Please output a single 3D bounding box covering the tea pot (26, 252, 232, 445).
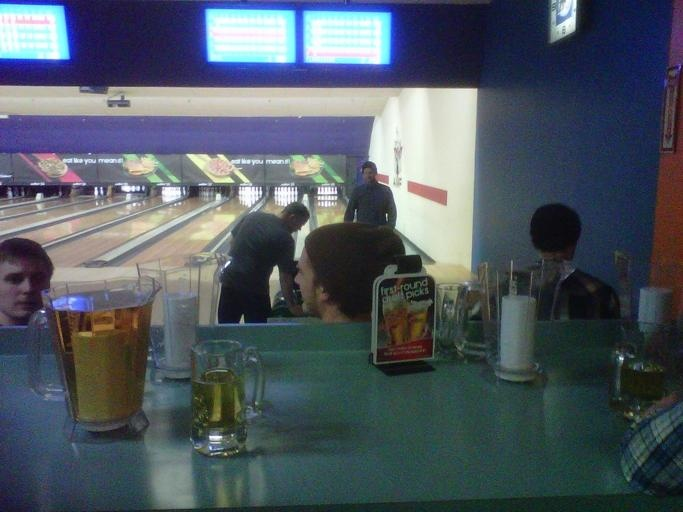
[{"bbox_3d":[-0.408,0.161,1.036,0.315,0.347,0.223,-3,11,-20],"label":"tea pot"}]

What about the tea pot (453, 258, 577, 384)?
[{"bbox_3d":[0.374,0.128,1.186,0.235,0.361,0.215,1,3,0],"label":"tea pot"}]

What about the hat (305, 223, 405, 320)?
[{"bbox_3d":[0.013,0.035,1.409,0.279,0.272,0.212,7,2,36],"label":"hat"}]
